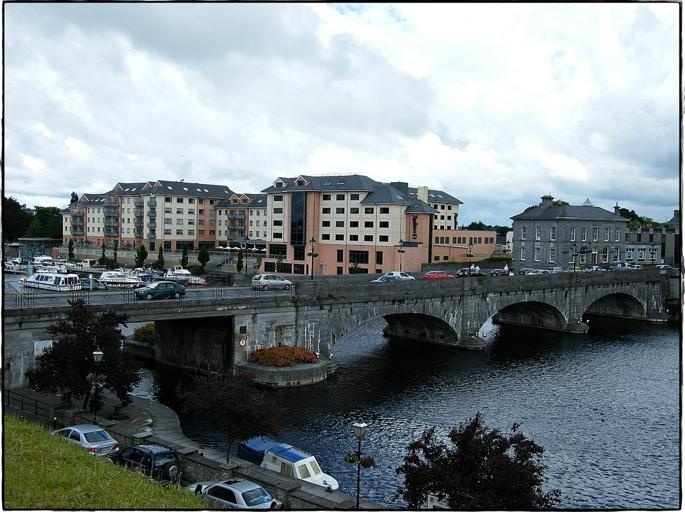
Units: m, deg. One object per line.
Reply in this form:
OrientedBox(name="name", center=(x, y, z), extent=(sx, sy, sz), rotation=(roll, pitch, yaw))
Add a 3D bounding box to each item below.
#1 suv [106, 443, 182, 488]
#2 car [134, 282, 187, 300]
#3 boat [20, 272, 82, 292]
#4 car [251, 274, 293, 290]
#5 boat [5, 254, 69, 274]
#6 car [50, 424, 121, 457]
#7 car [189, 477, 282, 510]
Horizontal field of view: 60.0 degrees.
OrientedBox(name="suv", center=(-8.754, 9.010, 26.638), extent=(2.934, 1.593, 1.672), rotation=(14, -1, 31))
OrientedBox(name="car", center=(-14.441, 2.766, 47.010), extent=(3.344, 1.255, 1.550), rotation=(4, -1, -31))
OrientedBox(name="boat", center=(-26.680, 2.349, 54.391), extent=(6.682, 1.563, 3.189), rotation=(5, 6, 31))
OrientedBox(name="car", center=(-6.472, 2.643, 55.080), extent=(3.061, 1.386, 1.802), rotation=(-3, 3, -20))
OrientedBox(name="boat", center=(-48.666, 1.226, 93.847), extent=(10.952, 2.858, 2.930), rotation=(0, 4, 4))
OrientedBox(name="car", center=(-12.171, 8.923, 28.163), extent=(3.242, 1.138, 1.431), rotation=(10, 5, 33))
OrientedBox(name="car", center=(-4.393, 9.719, 23.981), extent=(3.657, 0.891, 1.690), rotation=(4, 5, 23))
